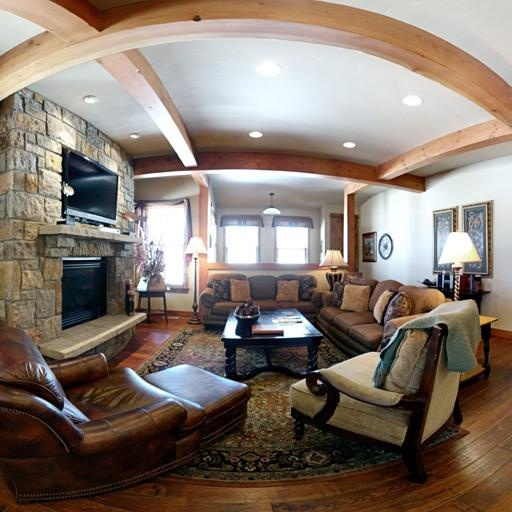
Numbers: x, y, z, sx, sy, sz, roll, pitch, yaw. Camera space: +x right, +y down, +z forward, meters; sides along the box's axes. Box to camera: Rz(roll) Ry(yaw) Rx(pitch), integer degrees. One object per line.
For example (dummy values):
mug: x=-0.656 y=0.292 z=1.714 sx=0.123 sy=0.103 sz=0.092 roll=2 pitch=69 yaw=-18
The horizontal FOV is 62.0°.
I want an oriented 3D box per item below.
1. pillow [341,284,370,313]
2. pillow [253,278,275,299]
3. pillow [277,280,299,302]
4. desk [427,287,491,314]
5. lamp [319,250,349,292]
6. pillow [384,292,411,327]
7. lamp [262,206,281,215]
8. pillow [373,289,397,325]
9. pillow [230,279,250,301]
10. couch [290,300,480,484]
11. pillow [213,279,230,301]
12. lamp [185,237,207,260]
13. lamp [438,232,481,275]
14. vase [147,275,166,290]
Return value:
pillow: x=1.168 y=0.504 z=4.977 sx=0.107 sy=0.278 sz=0.348 roll=27 pitch=-22 yaw=-38
pillow: x=0.099 y=0.469 z=6.098 sx=0.370 sy=0.274 sz=0.075 roll=3 pitch=-12 yaw=-8
pillow: x=0.442 y=0.505 z=5.955 sx=0.344 sy=0.298 sz=0.108 roll=-1 pitch=-44 yaw=9
desk: x=2.533 y=0.477 z=5.385 sx=0.536 sy=0.500 sz=0.627 roll=2 pitch=-3 yaw=-24
lamp: x=1.187 y=0.198 z=6.371 sx=0.638 sy=0.624 sz=0.538 roll=0 pitch=2 yaw=12
pillow: x=1.245 y=0.480 z=3.743 sx=0.191 sy=0.290 sz=0.326 roll=17 pitch=-5 yaw=-2
lamp: x=0.228 y=-0.757 z=7.363 sx=0.279 sy=0.097 sz=0.263 roll=-1 pitch=1 yaw=-34
pillow: x=1.247 y=0.505 z=4.238 sx=0.102 sy=0.275 sz=0.302 roll=18 pitch=15 yaw=15
pillow: x=-0.226 y=0.471 z=5.845 sx=0.271 sy=0.246 sz=0.472 roll=-1 pitch=9 yaw=-2
couch: x=0.862 y=0.719 z=2.839 sx=1.080 sy=0.844 sz=1.183 roll=3 pitch=-3 yaw=-45
pillow: x=-0.477 y=0.471 z=5.812 sx=0.294 sy=0.239 sz=0.079 roll=6 pitch=-28 yaw=-26
lamp: x=-0.823 y=-0.098 z=6.073 sx=0.361 sy=0.255 sz=0.342 roll=5 pitch=8 yaw=39
lamp: x=1.942 y=-0.040 z=4.067 sx=0.448 sy=0.341 sz=0.362 roll=-6 pitch=8 yaw=-18
vase: x=-1.376 y=0.388 z=5.868 sx=0.163 sy=0.214 sz=0.305 roll=4 pitch=10 yaw=26
